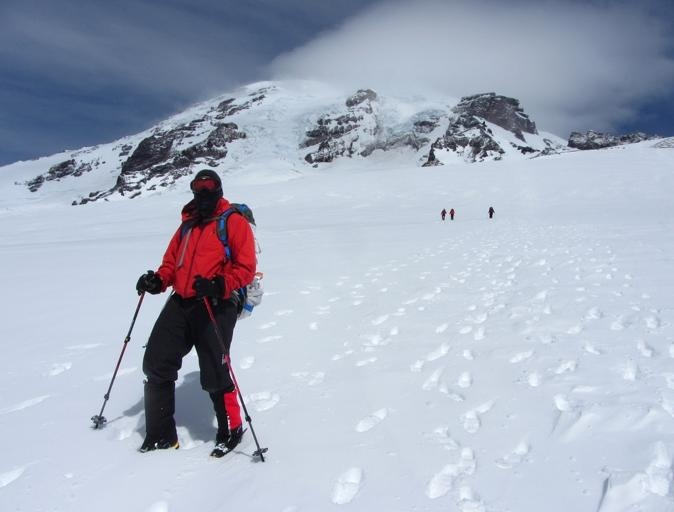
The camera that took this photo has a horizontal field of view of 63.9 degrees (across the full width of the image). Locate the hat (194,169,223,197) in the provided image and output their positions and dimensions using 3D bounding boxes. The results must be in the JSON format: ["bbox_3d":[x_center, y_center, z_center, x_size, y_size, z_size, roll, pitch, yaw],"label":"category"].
[{"bbox_3d":[-1.766,-1.005,7.462,0.351,0.288,0.368,0,-10,-5],"label":"hat"}]

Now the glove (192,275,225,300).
[{"bbox_3d":[-1.613,0.401,6.828,0.320,0.136,0.317,1,2,28],"label":"glove"}]

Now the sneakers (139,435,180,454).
[{"bbox_3d":[-2.308,2.483,7.032,0.540,0.211,0.178,10,-17,-23],"label":"sneakers"}]
